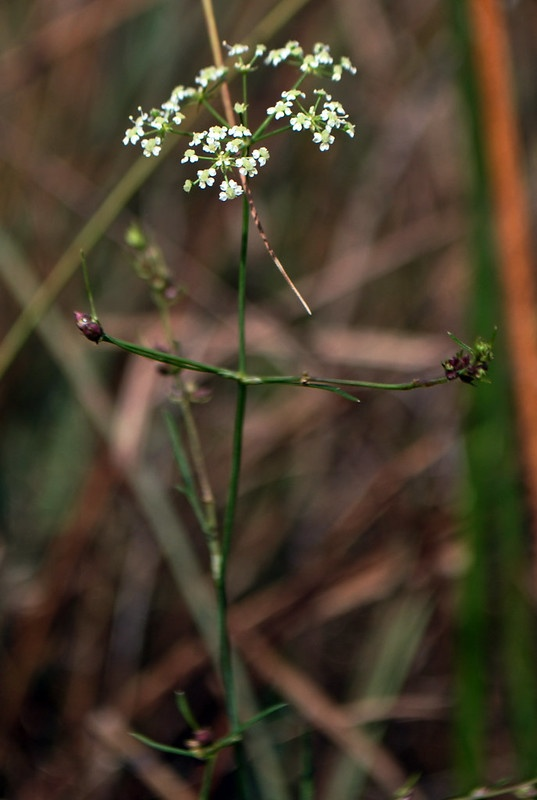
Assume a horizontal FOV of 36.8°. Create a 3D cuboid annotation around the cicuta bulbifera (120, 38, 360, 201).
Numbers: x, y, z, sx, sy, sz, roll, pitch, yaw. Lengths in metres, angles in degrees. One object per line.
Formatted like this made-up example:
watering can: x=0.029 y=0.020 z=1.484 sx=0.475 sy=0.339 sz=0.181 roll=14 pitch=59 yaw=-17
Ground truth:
cicuta bulbifera: x=-0.022 y=-0.280 z=0.814 sx=0.197 sy=0.178 sz=0.049 roll=-42 pitch=-45 yaw=-19
